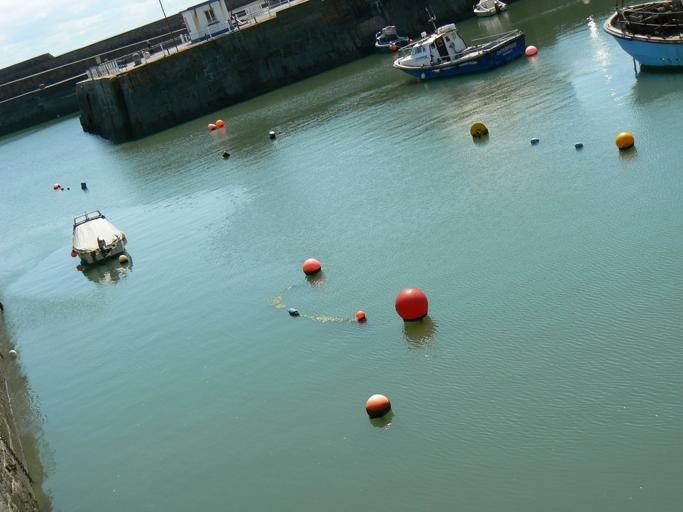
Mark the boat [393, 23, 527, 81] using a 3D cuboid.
[{"bbox_3d":[6.881,-11.674,48.126,6.081,2.263,3.739,-3,30,40],"label":"boat"}]

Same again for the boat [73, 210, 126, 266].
[{"bbox_3d":[-11.051,-0.769,36.865,2.129,1.608,2.572,-33,20,-35],"label":"boat"}]
